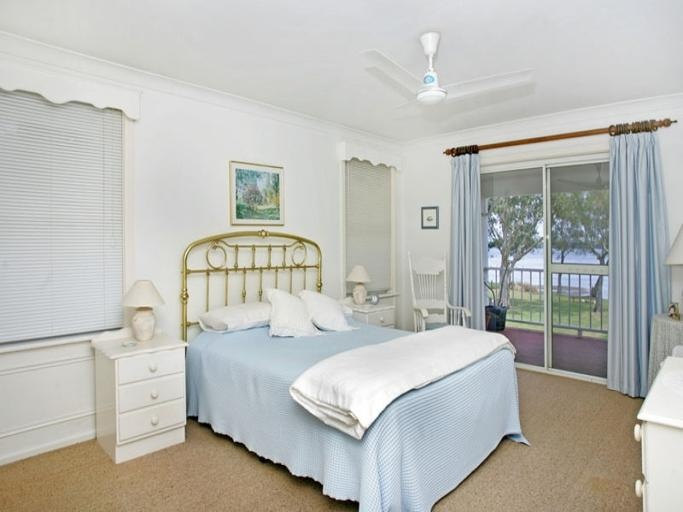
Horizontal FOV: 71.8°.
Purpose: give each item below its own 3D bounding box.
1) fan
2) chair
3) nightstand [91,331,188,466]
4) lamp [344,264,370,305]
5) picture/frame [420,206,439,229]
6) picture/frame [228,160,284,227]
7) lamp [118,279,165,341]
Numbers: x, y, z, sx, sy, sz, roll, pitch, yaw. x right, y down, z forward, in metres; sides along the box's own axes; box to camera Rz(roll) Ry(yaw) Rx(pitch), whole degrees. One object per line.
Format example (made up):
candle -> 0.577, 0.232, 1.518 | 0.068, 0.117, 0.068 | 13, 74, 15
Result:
fan -> 0.870, -1.509, 4.128 | 0.783, 0.384, 0.890 | -1, 0, 31
chair -> 1.137, 0.563, 5.717 | 0.554, 1.069, 0.665 | -1, 1, -14
nightstand -> -1.684, 1.075, 3.898 | 0.522, 0.957, 0.595 | 8, 9, 40
lamp -> 0.220, 0.314, 5.602 | 0.261, 0.431, 0.259 | 0, -1, -27
picture/frame -> 1.185, -0.543, 6.251 | 0.268, 0.352, 0.026 | 4, 4, 44
picture/frame -> -0.912, -0.675, 4.891 | 0.024, 0.714, 0.672 | -1, 0, 44
lamp -> -1.668, 0.444, 3.958 | 0.308, 0.506, 0.328 | -3, 5, -36
